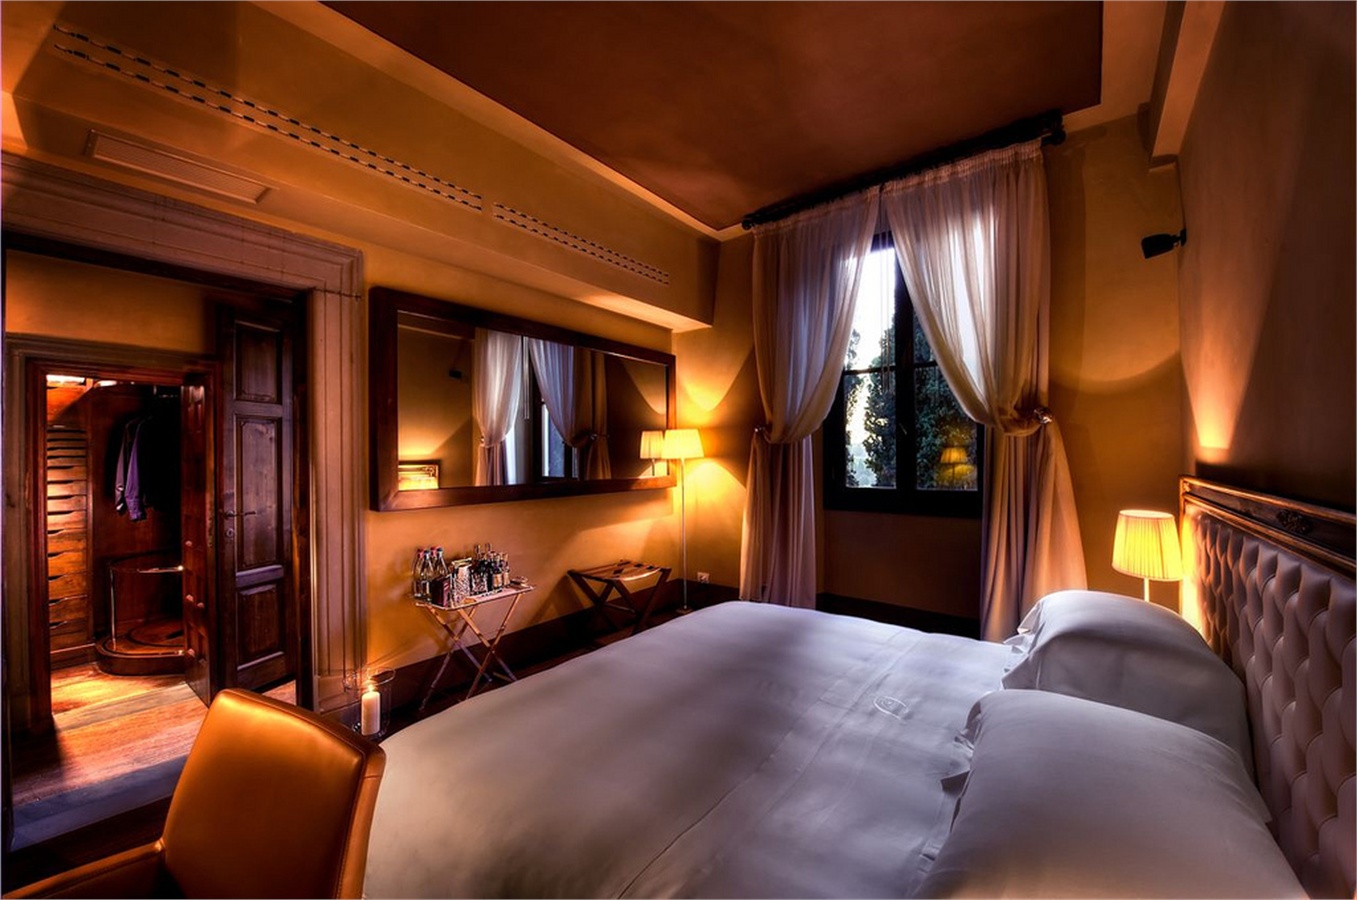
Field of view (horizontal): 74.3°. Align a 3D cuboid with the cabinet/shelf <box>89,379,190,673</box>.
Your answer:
[{"bbox_3d":[-3.878,0.508,6.445,0.601,2.128,0.927,-3,0,-34],"label":"cabinet/shelf"}]

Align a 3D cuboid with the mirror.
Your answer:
[{"bbox_3d":[-0.951,-0.252,6.274,0.093,1.261,2.753,-2,-2,37],"label":"mirror"}]

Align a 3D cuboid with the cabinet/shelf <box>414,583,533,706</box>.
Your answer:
[{"bbox_3d":[-1.311,1.196,5.782,0.740,0.901,0.539,-1,-2,18],"label":"cabinet/shelf"}]

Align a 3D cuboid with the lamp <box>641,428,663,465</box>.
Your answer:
[{"bbox_3d":[-0.212,-0.038,6.957,0.197,0.357,0.201,3,-6,-24],"label":"lamp"}]

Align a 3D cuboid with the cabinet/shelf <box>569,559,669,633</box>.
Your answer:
[{"bbox_3d":[-0.295,1.088,6.850,0.397,0.559,0.526,9,-9,8],"label":"cabinet/shelf"}]

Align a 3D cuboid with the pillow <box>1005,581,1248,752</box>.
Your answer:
[{"bbox_3d":[2.085,0.948,4.326,1.157,0.389,0.731,12,11,1],"label":"pillow"}]

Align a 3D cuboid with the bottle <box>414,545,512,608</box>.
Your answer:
[{"bbox_3d":[-1.349,0.776,5.588,0.452,0.303,0.320,-2,3,-37],"label":"bottle"}]
